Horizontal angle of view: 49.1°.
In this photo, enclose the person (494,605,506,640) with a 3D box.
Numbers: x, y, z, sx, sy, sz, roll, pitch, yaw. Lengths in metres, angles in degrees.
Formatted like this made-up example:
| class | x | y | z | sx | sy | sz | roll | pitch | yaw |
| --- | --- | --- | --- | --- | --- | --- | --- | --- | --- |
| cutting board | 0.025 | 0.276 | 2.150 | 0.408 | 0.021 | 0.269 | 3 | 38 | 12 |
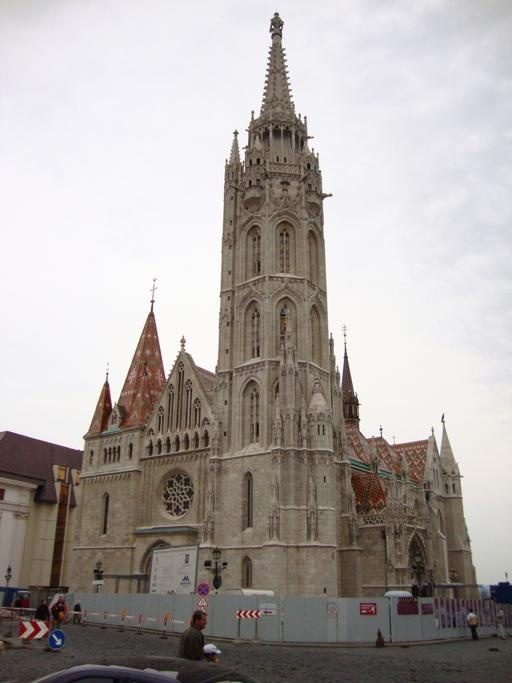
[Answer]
| class | x | y | z | sx | sy | sz | roll | pitch | yaw |
| --- | --- | --- | --- | --- | --- | --- | --- | --- | --- |
| person | 13.046 | 14.960 | 29.976 | 0.528 | 1.349 | 3.285 | -9 | -25 | 20 |
